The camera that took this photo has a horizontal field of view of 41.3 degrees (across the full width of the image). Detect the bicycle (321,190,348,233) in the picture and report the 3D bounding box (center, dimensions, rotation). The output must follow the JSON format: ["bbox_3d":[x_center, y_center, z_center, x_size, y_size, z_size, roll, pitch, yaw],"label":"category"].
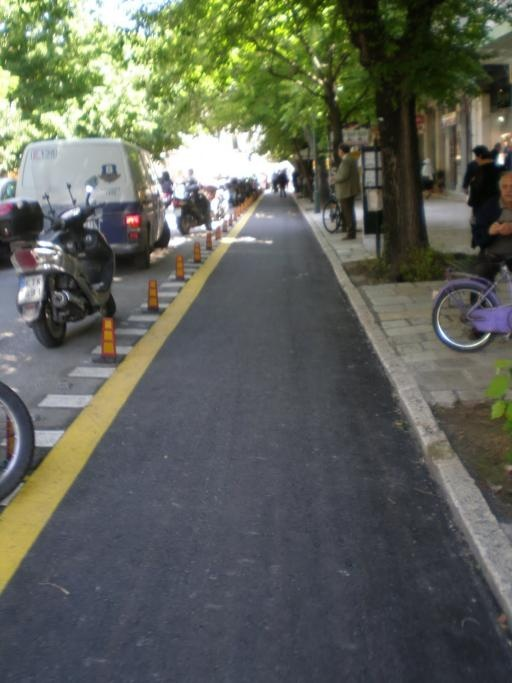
[{"bbox_3d":[2.135,-3.470,18.434,0.508,0.905,1.299,-2,19,2],"label":"bicycle"}]

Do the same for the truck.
[{"bbox_3d":[-2.741,-2.337,11.862,1.606,2.095,3.295,0,22,5],"label":"truck"}]
